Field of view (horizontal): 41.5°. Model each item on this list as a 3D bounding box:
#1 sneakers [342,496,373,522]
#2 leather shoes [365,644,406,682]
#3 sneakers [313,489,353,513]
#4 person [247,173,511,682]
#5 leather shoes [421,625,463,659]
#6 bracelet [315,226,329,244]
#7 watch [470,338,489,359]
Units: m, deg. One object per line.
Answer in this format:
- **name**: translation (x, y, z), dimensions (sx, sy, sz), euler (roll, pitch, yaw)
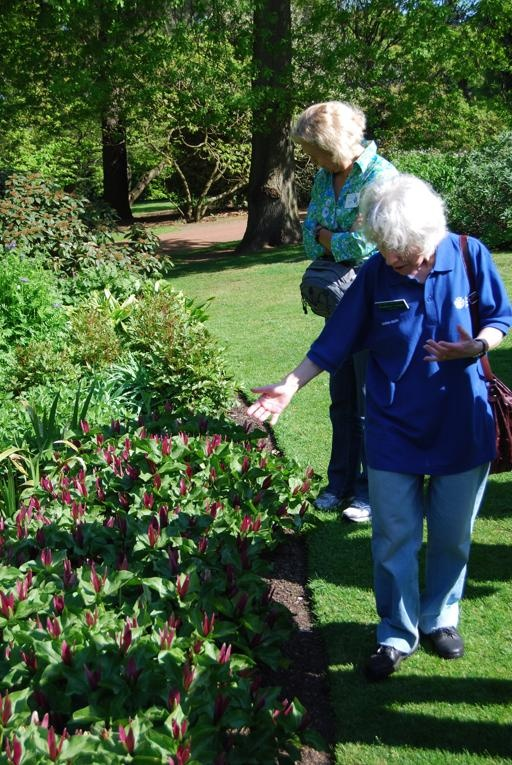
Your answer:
- **sneakers**: translation (0.561, 0.704, 3.727), dimensions (0.114, 0.100, 0.248), euler (2, -5, 26)
- **leather shoes**: translation (0.462, 1.030, 2.460), dimensions (0.089, 0.064, 0.165), euler (-7, -2, 27)
- **sneakers**: translation (0.441, 0.684, 3.865), dimensions (0.213, 0.087, 0.085), euler (-2, 18, -16)
- **person**: translation (0.532, 0.167, 2.461), dimensions (0.708, 1.793, 0.515), euler (3, 13, 6)
- **leather shoes**: translation (0.714, 1.001, 2.598), dimensions (0.071, 0.050, 0.162), euler (-5, -2, -16)
- **bracelet**: translation (0.343, -0.764, 3.539), dimensions (0.077, 0.045, 0.098), euler (15, 33, -26)
- **watch**: translation (0.723, -0.114, 2.191), dimensions (0.045, 0.058, 0.066), euler (7, -10, 29)
